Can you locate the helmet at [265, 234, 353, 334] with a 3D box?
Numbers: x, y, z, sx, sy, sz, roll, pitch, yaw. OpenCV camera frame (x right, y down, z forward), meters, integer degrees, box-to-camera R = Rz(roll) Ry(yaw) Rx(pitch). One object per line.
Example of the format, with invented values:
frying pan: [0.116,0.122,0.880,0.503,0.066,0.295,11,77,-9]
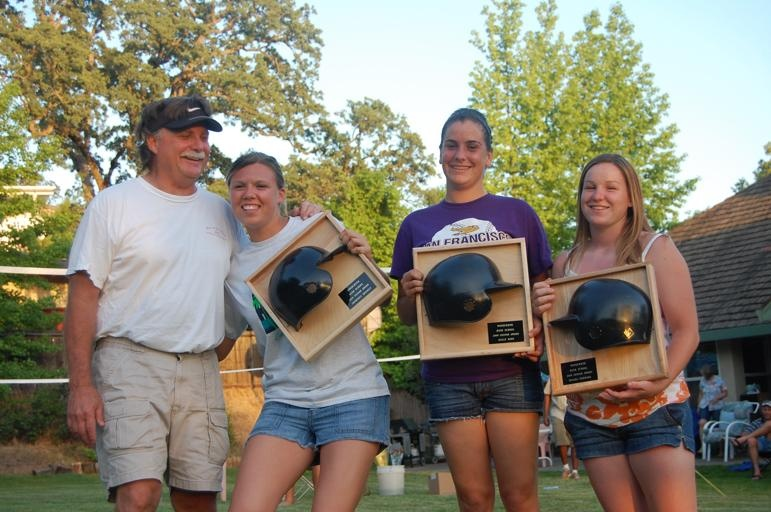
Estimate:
helmet: [-0.602,0.227,5.917,0.605,0.668,0.189,2,-16,-5]

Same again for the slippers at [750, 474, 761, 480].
slippers: [6.640,3.982,13.731,0.154,0.080,0.347,-7,-18,23]

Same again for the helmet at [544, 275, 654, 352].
helmet: [1.631,0.449,5.757,0.664,0.405,0.448,1,-1,12]

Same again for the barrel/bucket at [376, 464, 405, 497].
barrel/bucket: [0.091,4.050,13.760,0.484,0.372,0.476,-6,-14,-2]

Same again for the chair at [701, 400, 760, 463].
chair: [7.406,3.783,16.592,1.035,1.107,0.805,-1,-13,-17]
